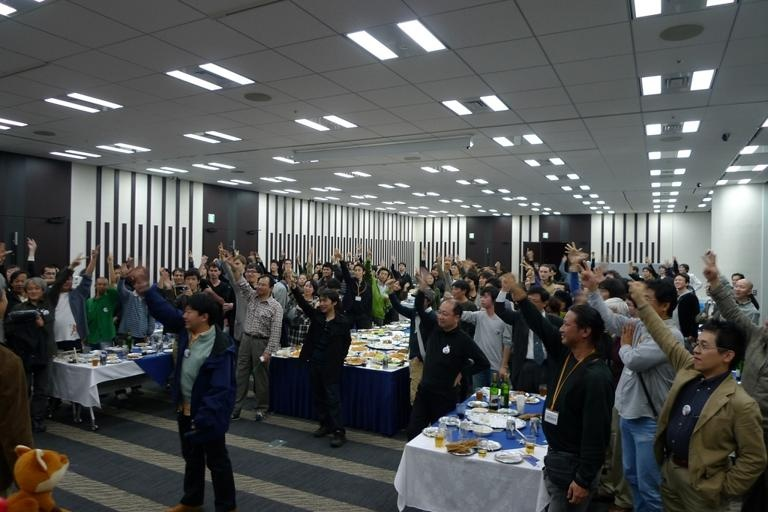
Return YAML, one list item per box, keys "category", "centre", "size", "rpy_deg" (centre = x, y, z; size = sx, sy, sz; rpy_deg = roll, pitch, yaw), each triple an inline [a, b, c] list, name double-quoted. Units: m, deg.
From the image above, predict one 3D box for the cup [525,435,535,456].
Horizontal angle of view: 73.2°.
- category: "cup"
  centre: [1.358, 1.754, 4.750]
  size: [0.099, 0.111, 0.100]
  rpy_deg: [1, -7, 0]

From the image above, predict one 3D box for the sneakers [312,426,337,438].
- category: "sneakers"
  centre: [-0.804, 2.376, 6.951]
  size: [0.331, 0.133, 0.127]
  rpy_deg: [17, -19, -31]

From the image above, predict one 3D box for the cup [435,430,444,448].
- category: "cup"
  centre: [0.521, 1.720, 4.853]
  size: [0.096, 0.107, 0.097]
  rpy_deg: [0, -4, 0]

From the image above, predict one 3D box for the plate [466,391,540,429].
- category: "plate"
  centre: [1.268, 1.579, 5.462]
  size: [0.797, 0.232, 0.854]
  rpy_deg: [3, 11, 14]

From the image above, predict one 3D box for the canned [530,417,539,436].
- category: "canned"
  centre: [1.466, 1.658, 5.010]
  size: [0.083, 0.144, 0.134]
  rpy_deg: [2, 11, 8]

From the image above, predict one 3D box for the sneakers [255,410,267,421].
- category: "sneakers"
  centre: [-1.774, 2.298, 7.428]
  size: [0.100, 0.138, 0.126]
  rpy_deg: [4, 4, 31]

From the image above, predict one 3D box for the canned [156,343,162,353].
- category: "canned"
  centre: [-3.404, 1.404, 7.859]
  size: [0.123, 0.136, 0.085]
  rpy_deg: [-3, -6, 38]

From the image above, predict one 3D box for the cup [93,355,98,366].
- category: "cup"
  centre: [-3.991, 1.476, 7.198]
  size: [0.084, 0.111, 0.109]
  rpy_deg: [2, -4, -25]
